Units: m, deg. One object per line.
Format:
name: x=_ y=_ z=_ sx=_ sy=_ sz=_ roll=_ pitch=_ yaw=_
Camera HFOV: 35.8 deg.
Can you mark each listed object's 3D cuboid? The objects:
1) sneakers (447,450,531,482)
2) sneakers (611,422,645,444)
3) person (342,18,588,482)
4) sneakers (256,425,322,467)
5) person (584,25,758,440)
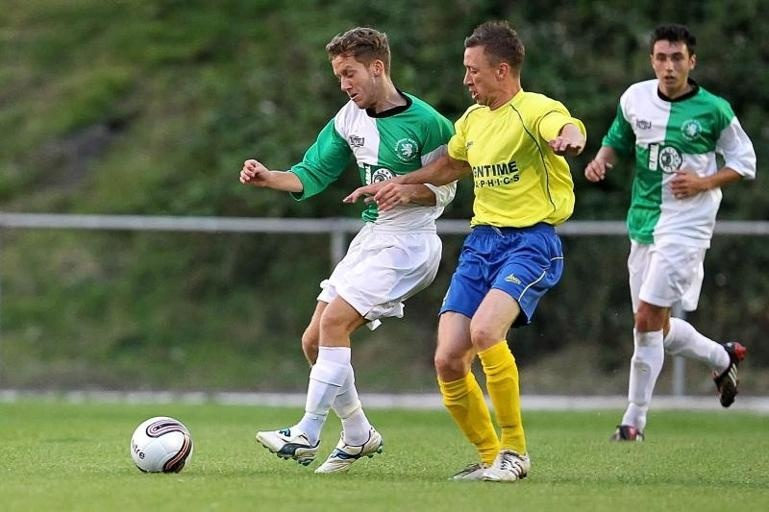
sneakers: x=0.816 y=1.667 z=9.597 sx=0.682 sy=0.292 sz=0.244 roll=0 pitch=-4 yaw=0
sneakers: x=2.224 y=1.619 z=10.923 sx=0.119 sy=0.147 sz=0.330 roll=-2 pitch=-2 yaw=40
person: x=0.935 y=-0.096 z=9.736 sx=1.296 sy=3.746 sz=0.795 roll=1 pitch=-1 yaw=5
sneakers: x=-0.764 y=1.523 z=9.720 sx=0.577 sy=0.294 sz=0.225 roll=23 pitch=-2 yaw=-11
person: x=2.622 y=-0.199 z=10.954 sx=1.416 sy=3.742 sz=0.843 roll=1 pitch=-1 yaw=-1
